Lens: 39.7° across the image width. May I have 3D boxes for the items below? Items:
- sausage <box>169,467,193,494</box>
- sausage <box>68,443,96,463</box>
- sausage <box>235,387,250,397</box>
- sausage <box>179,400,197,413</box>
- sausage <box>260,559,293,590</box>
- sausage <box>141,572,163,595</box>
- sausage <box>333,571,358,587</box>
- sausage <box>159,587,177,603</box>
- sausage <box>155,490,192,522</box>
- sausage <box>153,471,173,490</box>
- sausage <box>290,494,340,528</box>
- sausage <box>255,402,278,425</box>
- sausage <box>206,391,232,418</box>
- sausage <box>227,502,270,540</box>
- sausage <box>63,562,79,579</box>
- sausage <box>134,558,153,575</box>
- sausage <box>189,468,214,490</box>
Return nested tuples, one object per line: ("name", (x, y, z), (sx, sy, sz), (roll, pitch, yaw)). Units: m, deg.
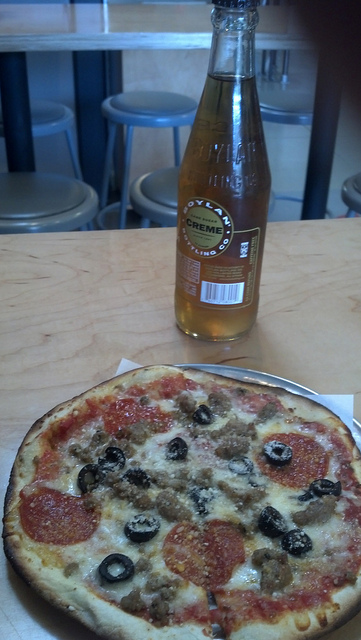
("sausage", (0.001, 0.132, 0.412), (0.010, 0.005, 0.019), (8, 31, 8))
("sausage", (-0.086, 0.116, 0.436), (0.015, 0.004, 0.014), (-2, 41, -52))
("sausage", (0.062, 0.073, 0.508), (0.009, 0.002, 0.008), (-9, 31, -18))
("sausage", (0.007, 0.085, 0.488), (0.012, 0.013, 0.003), (-5, -14, 20))
("sausage", (0.066, 0.175, 0.340), (0.021, 0.011, 0.019), (11, 30, 13))
("sausage", (-0.020, 0.176, 0.334), (0.009, 0.005, 0.012), (-2, 43, 5))
("sausage", (0.113, 0.177, 0.341), (0.012, 0.004, 0.008), (-35, 50, -10))
("sausage", (-0.008, 0.182, 0.330), (0.008, 0.003, 0.009), (24, 35, 5))
("sausage", (-0.007, 0.146, 0.388), (0.014, 0.009, 0.026), (-16, 43, -27))
("sausage", (-0.014, 0.132, 0.411), (0.011, 0.003, 0.011), (34, 48, 30))
("sausage", (0.103, 0.146, 0.378), (0.032, 0.008, 0.017), (-34, 46, -20))
("sausage", (0.084, 0.089, 0.480), (0.013, 0.006, 0.024), (24, 56, 27))
("sausage", (0.039, 0.083, 0.491), (0.016, 0.006, 0.023), (-3, 55, -1))
("sausage", (0.052, 0.153, 0.377), (0.021, 0.006, 0.021), (-8, 32, -29))
("sausage", (-0.076, 0.172, 0.341), (0.006, 0.002, 0.007), (10, 25, 18))
("sausage", (-0.025, 0.170, 0.344), (0.013, 0.006, 0.007), (0, 29, -6))
("sausage", (0.018, 0.130, 0.413), (0.012, 0.006, 0.016), (0, 17, 7))
